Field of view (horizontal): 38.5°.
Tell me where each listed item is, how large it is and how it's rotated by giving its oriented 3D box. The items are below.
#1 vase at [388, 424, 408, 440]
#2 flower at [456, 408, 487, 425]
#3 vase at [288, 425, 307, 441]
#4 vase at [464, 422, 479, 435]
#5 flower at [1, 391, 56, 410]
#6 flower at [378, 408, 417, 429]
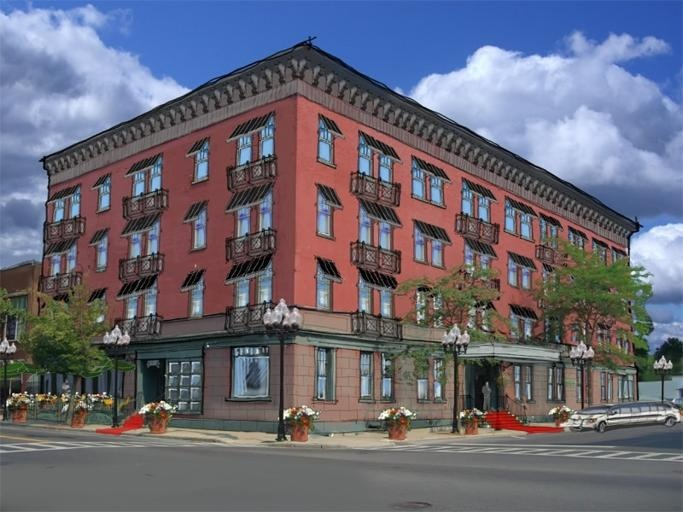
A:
[{"bbox_3d":[2.899,9.200,50.877,0.831,0.628,0.813,0,-11,-5],"label":"vase"},{"bbox_3d":[7.540,9.178,55.648,1.637,0.780,1.007,-1,-1,-37],"label":"flower"},{"bbox_3d":[-2.144,8.911,48.963,0.708,0.945,0.942,4,-6,-38],"label":"vase"},{"bbox_3d":[7.237,9.677,55.174,0.709,0.811,0.709,3,-7,-18],"label":"vase"},{"bbox_3d":[-20.593,9.692,64.899,1.857,0.836,2.531,1,-8,3],"label":"flower"},{"bbox_3d":[2.907,8.499,51.317,1.535,0.846,1.431,-2,-1,15],"label":"flower"}]
